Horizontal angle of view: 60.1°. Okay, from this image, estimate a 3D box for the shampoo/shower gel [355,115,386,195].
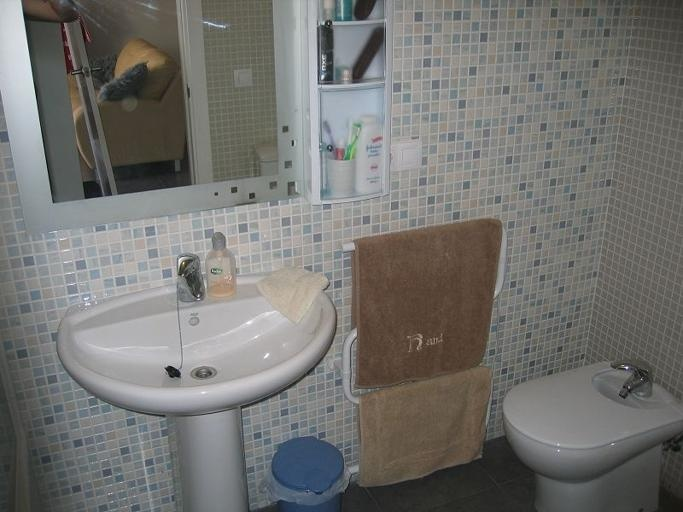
[{"bbox_3d":[0.101,-0.364,2.112,0.061,0.272,0.112,16,24,37],"label":"shampoo/shower gel"}]

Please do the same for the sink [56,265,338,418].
[{"bbox_3d":[-0.450,0.327,1.913,0.873,0.277,0.658,-7,25,-23],"label":"sink"}]

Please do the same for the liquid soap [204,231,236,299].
[{"bbox_3d":[-0.410,0.039,1.996,0.090,0.225,0.067,-8,30,-34],"label":"liquid soap"}]

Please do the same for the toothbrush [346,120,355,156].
[{"bbox_3d":[0.032,-0.403,2.055,0.021,0.135,0.018,5,10,-7],"label":"toothbrush"}]

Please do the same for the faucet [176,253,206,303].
[{"bbox_3d":[-0.507,0.069,1.971,0.085,0.154,0.078,5,21,17],"label":"faucet"}]

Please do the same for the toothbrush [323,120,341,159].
[{"bbox_3d":[-0.032,-0.397,2.040,0.040,0.131,0.023,-23,38,-8],"label":"toothbrush"}]

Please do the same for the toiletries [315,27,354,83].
[{"bbox_3d":[-0.045,-0.650,1.940,0.130,0.265,0.147,-4,32,-9],"label":"toiletries"}]

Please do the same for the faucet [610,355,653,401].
[{"bbox_3d":[1.165,0.479,2.391,0.174,0.139,0.127,-20,38,-29],"label":"faucet"}]
